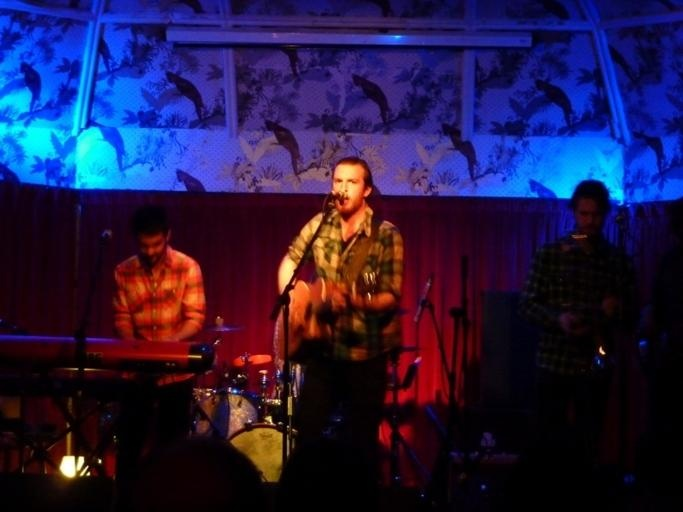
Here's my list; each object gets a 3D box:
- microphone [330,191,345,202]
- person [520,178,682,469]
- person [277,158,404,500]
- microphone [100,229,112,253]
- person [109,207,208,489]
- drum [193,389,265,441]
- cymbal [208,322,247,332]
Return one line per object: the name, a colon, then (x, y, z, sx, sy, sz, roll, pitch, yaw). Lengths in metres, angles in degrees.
microphone: (-0.018, -0.383, 4.351, 0.051, 0.038, 0.076, 3, -33, 5)
person: (1.583, 0.418, 4.504, 0.739, 1.889, 0.579, 0, -4, 22)
person: (0.018, 0.318, 4.389, 0.738, 1.939, 0.474, 1, -4, 11)
microphone: (-2.086, -0.137, 5.912, 0.091, 0.121, 0.302, 28, -28, -3)
person: (-1.329, 0.586, 4.878, 0.654, 1.954, 0.731, 3, -4, -19)
drum: (-1.047, 1.416, 6.051, 0.429, 0.470, 0.436, 3, 2, -17)
cymbal: (-1.138, 0.726, 6.616, 0.343, 0.092, 0.557, 3, -4, -9)
